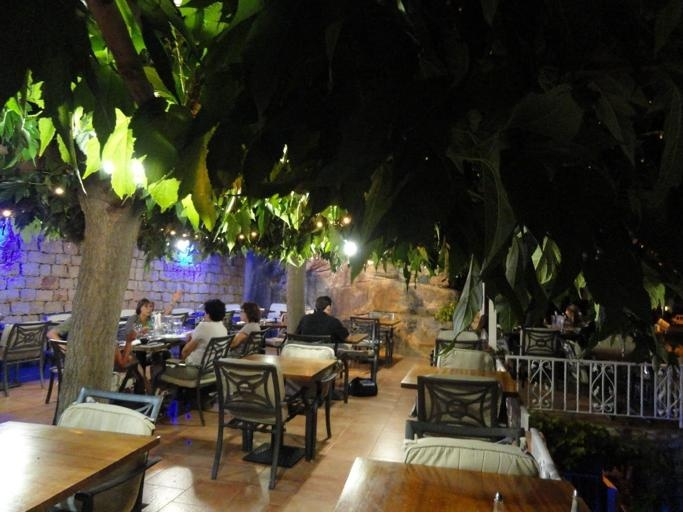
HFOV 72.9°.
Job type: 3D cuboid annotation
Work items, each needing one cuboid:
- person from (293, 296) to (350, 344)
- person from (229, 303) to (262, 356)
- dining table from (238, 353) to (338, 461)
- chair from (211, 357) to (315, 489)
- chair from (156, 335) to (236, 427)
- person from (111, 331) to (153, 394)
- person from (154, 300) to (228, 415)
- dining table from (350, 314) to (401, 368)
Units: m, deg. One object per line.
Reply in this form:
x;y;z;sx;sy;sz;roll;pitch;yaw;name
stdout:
-0.316;1.007;7.150;0.782;0.791;0.484;1;-8;9;person
-1.378;1.068;6.593;0.404;0.832;0.448;0;-10;30;person
-0.496;1.395;5.026;0.943;1.048;1.017;2;5;27;dining table
-0.739;1.474;4.501;0.752;1.208;0.854;1;7;11;chair
-1.959;1.467;6.001;0.743;1.123;0.780;10;3;21;chair
-2.608;1.336;5.785;0.384;0.923;1.146;2;-3;-19;person
-1.942;1.337;6.128;0.701;1.507;0.822;1;-4;18;person
0.824;2.103;11.258;1.169;1.549;1.260;2;4;25;dining table
